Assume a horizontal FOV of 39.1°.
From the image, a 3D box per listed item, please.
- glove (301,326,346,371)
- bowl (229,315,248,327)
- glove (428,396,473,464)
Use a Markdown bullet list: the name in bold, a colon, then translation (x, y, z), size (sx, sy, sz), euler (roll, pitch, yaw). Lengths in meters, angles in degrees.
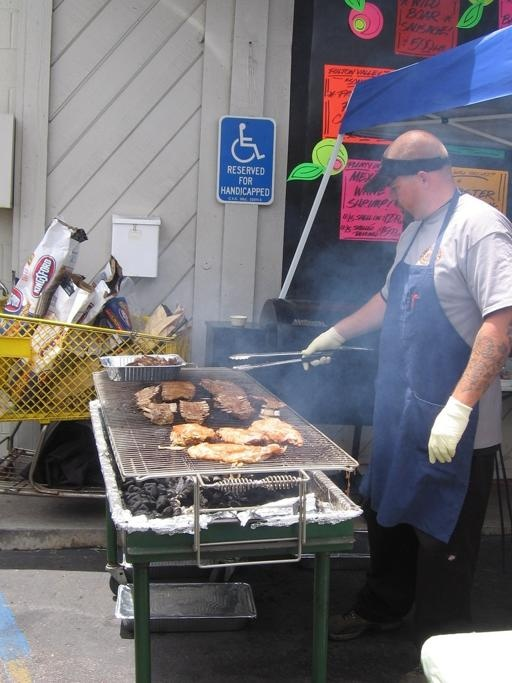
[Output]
- **glove**: translation (0.277, 0.024, 3.176), size (0.178, 0.174, 0.156), euler (-5, 14, -30)
- **bowl**: translation (-0.101, -0.116, 4.008), size (0.086, 0.036, 0.079), euler (-4, 5, 0)
- **glove**: translation (0.572, 0.272, 2.207), size (0.066, 0.204, 0.134), euler (-1, 31, -43)
